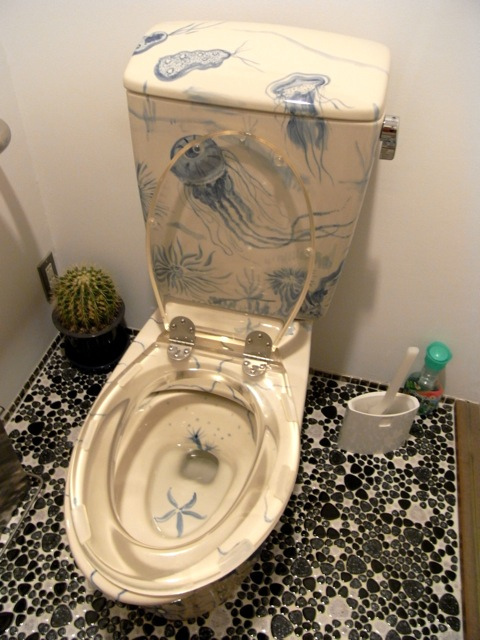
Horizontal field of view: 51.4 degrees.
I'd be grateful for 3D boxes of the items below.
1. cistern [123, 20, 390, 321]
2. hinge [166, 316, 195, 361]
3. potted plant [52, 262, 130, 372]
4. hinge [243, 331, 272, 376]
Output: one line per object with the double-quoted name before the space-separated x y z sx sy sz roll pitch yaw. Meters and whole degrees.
"cistern" 0.019 -0.261 0.934 0.384 0.576 0.213 10 62 5
"hinge" -0.110 0.030 0.937 0.063 0.070 0.057 -12 40 -28
"potted plant" -0.366 -0.005 1.256 0.137 0.217 0.134 -19 40 -33
"hinge" 0.032 0.061 0.927 0.050 0.087 0.011 11 9 7
